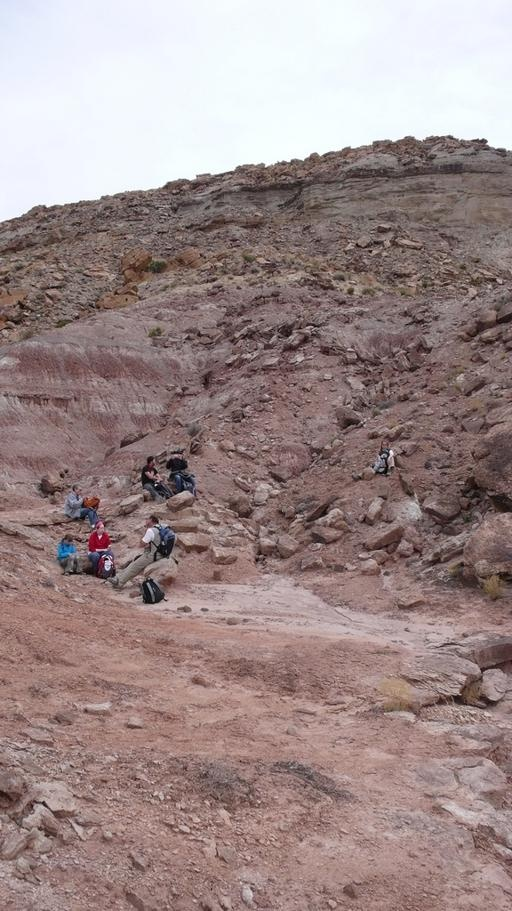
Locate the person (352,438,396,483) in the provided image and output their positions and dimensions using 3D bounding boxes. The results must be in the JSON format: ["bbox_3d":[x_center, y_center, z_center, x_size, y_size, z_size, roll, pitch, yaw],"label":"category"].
[{"bbox_3d":[2.176,0.115,15.155,0.441,0.554,1.093,-15,-3,-16],"label":"person"}]

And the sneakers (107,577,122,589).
[{"bbox_3d":[-2.086,1.902,12.454,0.097,0.139,0.046,-34,21,34],"label":"sneakers"}]

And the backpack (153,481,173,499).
[{"bbox_3d":[-1.754,0.666,15.803,0.135,0.322,0.108,-28,17,48],"label":"backpack"}]

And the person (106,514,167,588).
[{"bbox_3d":[-1.722,1.402,13.163,1.129,1.518,0.697,1,8,-1],"label":"person"}]

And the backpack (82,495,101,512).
[{"bbox_3d":[-3.130,0.950,15.944,0.284,0.167,0.370,-11,17,-25],"label":"backpack"}]

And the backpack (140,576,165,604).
[{"bbox_3d":[-1.480,1.944,12.030,0.159,0.279,0.260,-30,-26,26],"label":"backpack"}]

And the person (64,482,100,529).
[{"bbox_3d":[-3.199,0.895,15.534,0.623,0.669,1.381,8,5,-11],"label":"person"}]

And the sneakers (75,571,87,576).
[{"bbox_3d":[-2.623,1.777,12.619,0.142,0.088,0.049,-13,-7,21],"label":"sneakers"}]

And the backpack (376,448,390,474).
[{"bbox_3d":[2.254,0.111,14.682,0.270,0.342,0.136,12,6,30],"label":"backpack"}]
